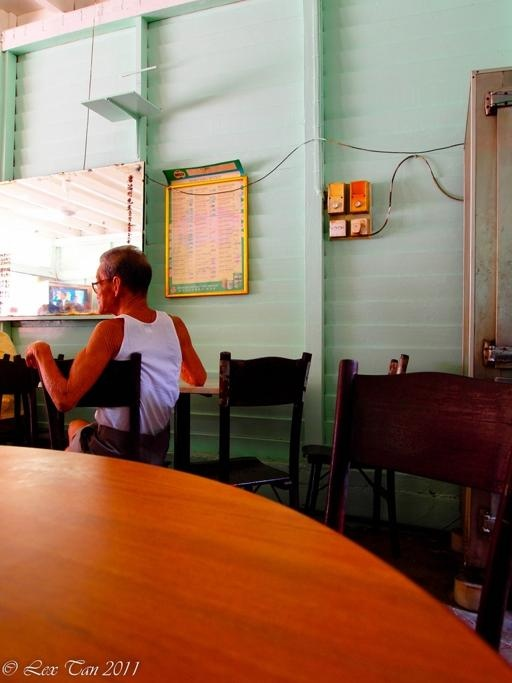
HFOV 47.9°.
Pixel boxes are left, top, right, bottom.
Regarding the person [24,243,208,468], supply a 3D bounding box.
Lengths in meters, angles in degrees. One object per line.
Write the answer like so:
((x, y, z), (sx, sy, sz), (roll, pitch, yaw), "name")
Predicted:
((-0.477, 0.042, 1.971), (0.423, 0.768, 0.741), (0, 2, 7), "person")

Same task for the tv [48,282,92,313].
((-1.256, -0.330, 3.942), (0.347, 0.244, 0.195), (-4, -8, 28), "tv")
